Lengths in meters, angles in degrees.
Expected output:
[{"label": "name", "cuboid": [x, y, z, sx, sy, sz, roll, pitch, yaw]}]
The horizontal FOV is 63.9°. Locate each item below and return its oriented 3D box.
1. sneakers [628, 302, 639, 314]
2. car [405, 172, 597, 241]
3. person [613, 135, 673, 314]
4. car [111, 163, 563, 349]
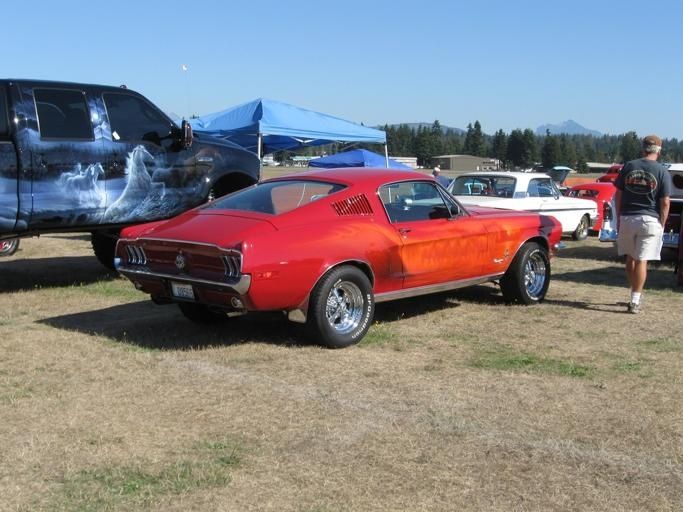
[{"label": "sneakers", "cuboid": [4.201, 0.758, 7.886, 0.103, 0.070, 0.181, 6, 12, 35]}, {"label": "car", "cuboid": [5.063, -1.501, 14.760, 4.578, 1.282, 2.010, -6, 10, -38]}, {"label": "person", "cuboid": [4.348, -0.470, 7.996, 0.712, 2.517, 0.736, 6, 11, 28]}, {"label": "car", "cuboid": [0.354, -0.127, 7.087, 4.949, 1.442, 2.388, -10, 13, -40]}]
